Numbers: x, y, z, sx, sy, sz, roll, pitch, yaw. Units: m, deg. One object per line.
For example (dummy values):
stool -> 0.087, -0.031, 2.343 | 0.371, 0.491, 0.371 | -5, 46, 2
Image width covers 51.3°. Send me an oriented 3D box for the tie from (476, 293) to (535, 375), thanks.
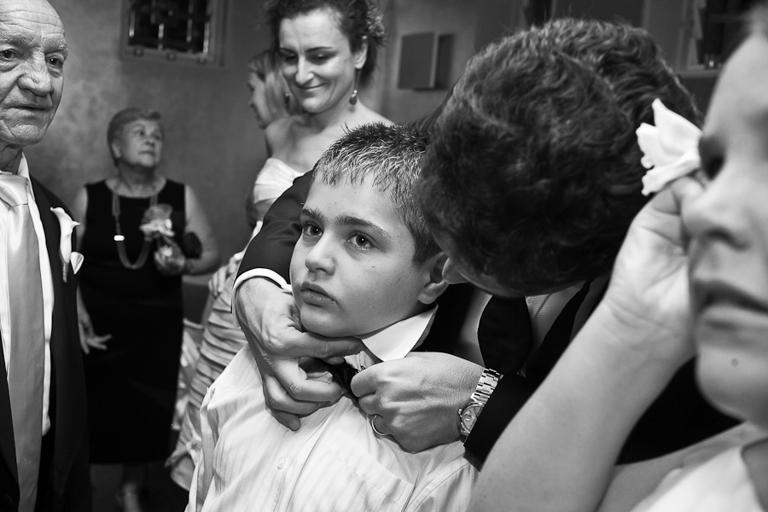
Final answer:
tie -> 0.238, 0.150, 1.610 | 0.067, 0.139, 0.114 | 8, 19, 21
